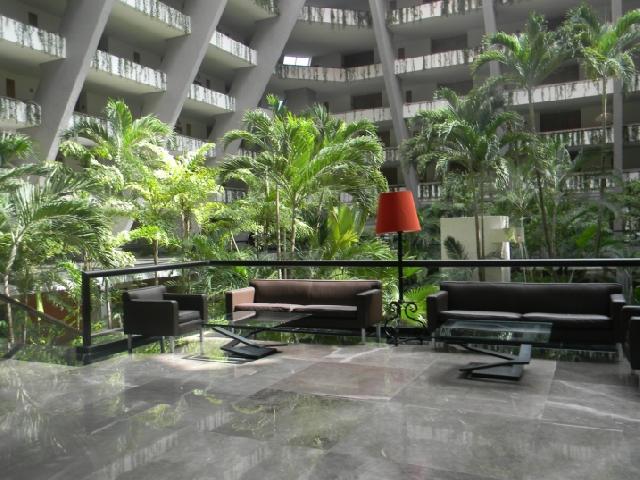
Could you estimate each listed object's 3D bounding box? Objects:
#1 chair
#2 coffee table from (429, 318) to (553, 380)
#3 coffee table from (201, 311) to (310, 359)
[{"bbox_3d":[-2.048,1.077,6.150,0.974,0.812,0.808,-1,1,22],"label":"chair"},{"bbox_3d":[1.794,1.077,4.646,0.904,0.317,0.783,-1,0,17],"label":"coffee table"},{"bbox_3d":[-0.899,1.147,5.573,0.724,0.286,0.862,1,-2,26],"label":"coffee table"}]
